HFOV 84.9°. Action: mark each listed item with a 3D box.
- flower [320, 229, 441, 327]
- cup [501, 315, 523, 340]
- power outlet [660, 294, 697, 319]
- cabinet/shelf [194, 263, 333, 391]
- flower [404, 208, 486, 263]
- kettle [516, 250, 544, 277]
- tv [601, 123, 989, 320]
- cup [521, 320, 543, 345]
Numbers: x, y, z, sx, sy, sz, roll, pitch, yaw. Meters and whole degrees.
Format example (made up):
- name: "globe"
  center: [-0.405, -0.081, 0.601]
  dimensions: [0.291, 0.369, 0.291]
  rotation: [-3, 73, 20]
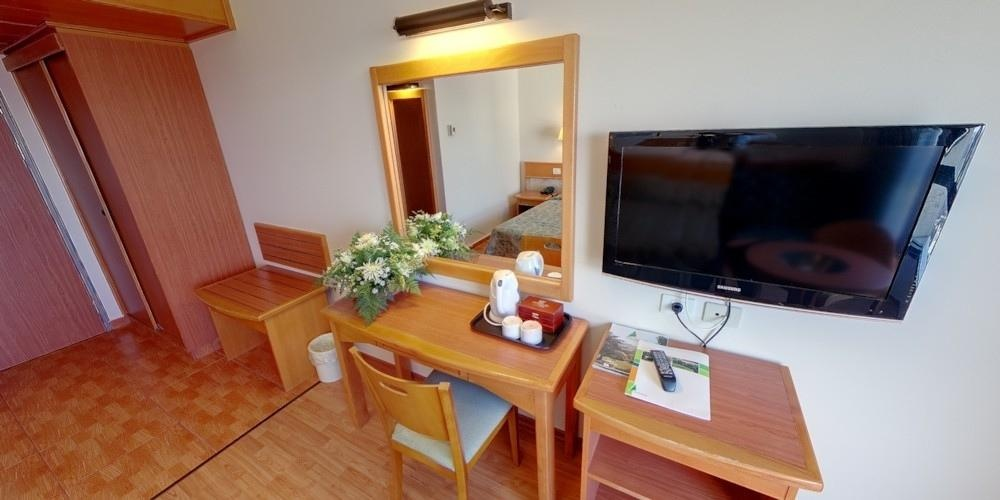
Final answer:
- name: "flower"
  center: [-0.915, 0.159, 4.286]
  dimensions: [0.864, 0.516, 0.768]
  rotation: [19, 52, 17]
- name: "cup"
  center: [0.089, 0.564, 3.986]
  dimensions: [0.143, 0.146, 0.129]
  rotation: [1, 22, 4]
- name: "power outlet"
  center: [1.268, 0.382, 3.885]
  dimensions: [0.315, 0.165, 0.057]
  rotation: [5, 17, 23]
- name: "cabinet/shelf"
  center: [-2.130, 0.687, 5.107]
  dimensions: [1.082, 0.712, 0.846]
  rotation: [15, 29, 42]
- name: "flower"
  center: [-0.481, -0.121, 4.360]
  dimensions: [0.503, 0.255, 0.412]
  rotation: [18, 40, 13]
- name: "kettle"
  center: [0.226, 0.094, 4.125]
  dimensions: [0.180, 0.194, 0.230]
  rotation: [4, 9, 27]
- name: "tv"
  center: [2.014, -0.225, 3.566]
  dimensions: [1.664, 0.779, 0.157]
  rotation: [3, 18, 15]
- name: "cup"
  center: [0.227, 0.586, 3.919]
  dimensions: [0.186, 0.118, 0.161]
  rotation: [0, 19, 4]
